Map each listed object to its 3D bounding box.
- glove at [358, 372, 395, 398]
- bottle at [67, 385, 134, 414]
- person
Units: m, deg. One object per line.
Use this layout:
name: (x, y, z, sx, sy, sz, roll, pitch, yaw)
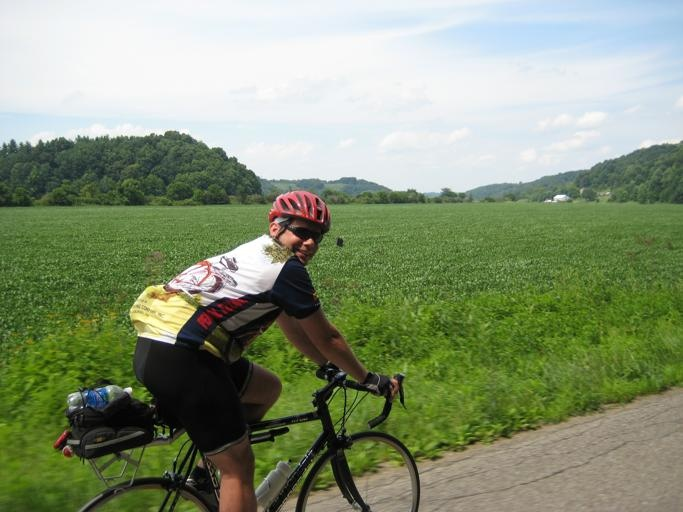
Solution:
glove: (0.307, 1.108, 4.306, 0.285, 0.168, 0.116, 20, -34, -25)
bottle: (-1.792, 1.013, 3.693, 0.375, 0.150, 0.209, -9, 0, -26)
person: (-0.794, 0.755, 4.047, 1.614, 2.508, 0.984, -2, 15, -28)
